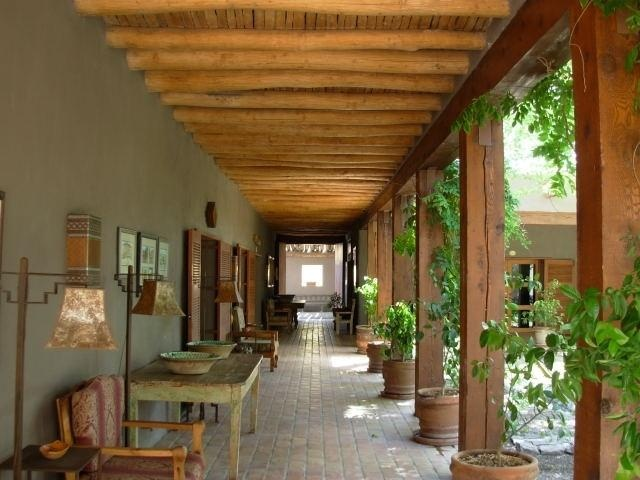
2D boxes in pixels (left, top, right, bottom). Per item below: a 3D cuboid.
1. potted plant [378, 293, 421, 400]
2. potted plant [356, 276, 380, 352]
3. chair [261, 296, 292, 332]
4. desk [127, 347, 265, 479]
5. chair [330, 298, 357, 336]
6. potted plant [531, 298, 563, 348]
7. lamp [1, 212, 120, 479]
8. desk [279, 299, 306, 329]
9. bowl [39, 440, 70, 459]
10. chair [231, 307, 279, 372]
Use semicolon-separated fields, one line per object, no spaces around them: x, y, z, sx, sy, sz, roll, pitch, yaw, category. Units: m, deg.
1.104;1.512;6.996;0.582;1.182;0.540;1;-11;27;potted plant
1.039;1.495;10.536;0.670;1.393;0.742;1;-11;-8;potted plant
-1.170;2.095;14.699;0.605;0.916;1.491;1;-3;-3;chair
-1.032;1.606;4.430;0.714;0.652;1.258;2;-3;6;desk
0.706;2.167;14.897;0.794;1.329;0.952;1;-5;-3;chair
4.415;1.628;10.320;0.555;0.822;0.589;3;8;3;potted plant
-1.538;0.576;3.103;0.592;1.579;1.135;2;-3;-22;lamp
-0.793;2.372;15.111;0.773;0.606;1.182;-1;0;-2;desk
-1.443;1.118;2.833;0.099;0.057;0.101;3;-4;0;bowl
-1.041;1.548;8.447;0.930;1.326;0.951;0;-2;0;chair
